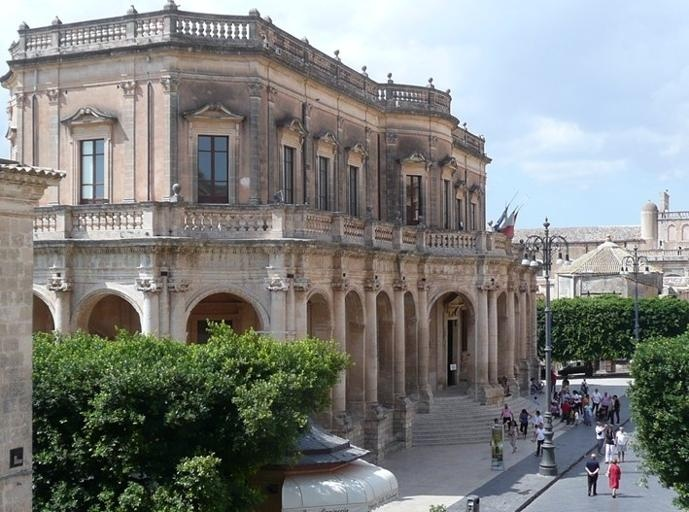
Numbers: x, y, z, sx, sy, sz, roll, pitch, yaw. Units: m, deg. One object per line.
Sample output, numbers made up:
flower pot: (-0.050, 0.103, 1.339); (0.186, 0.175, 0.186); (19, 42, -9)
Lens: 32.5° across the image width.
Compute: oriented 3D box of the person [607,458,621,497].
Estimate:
person: (10.900, 8.914, 47.766); (0.434, 1.531, 1.754); (-3, -7, 12)

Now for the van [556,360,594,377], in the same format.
van: (17.729, 8.875, 90.765); (2.576, 1.351, 1.574); (3, -1, 1)
